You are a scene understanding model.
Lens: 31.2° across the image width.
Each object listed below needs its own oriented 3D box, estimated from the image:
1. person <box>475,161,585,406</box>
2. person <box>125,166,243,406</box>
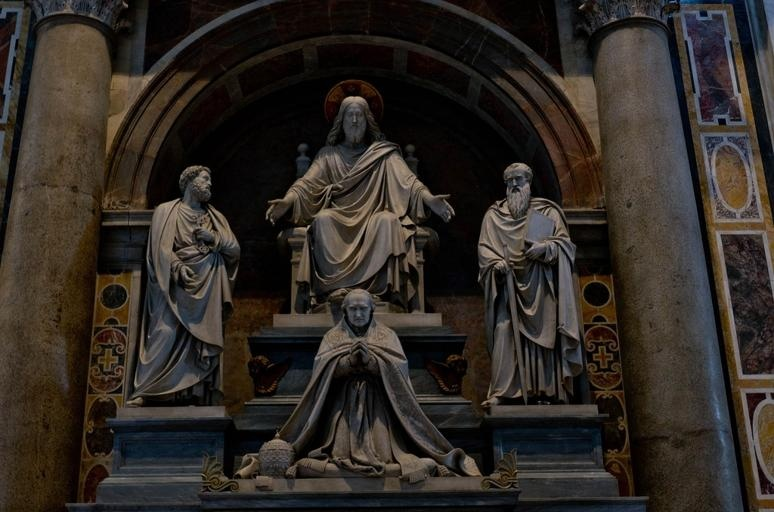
[{"bbox_3d":[1.564,0.273,15.379,1.088,2.768,0.386,-3,-15,7],"label":"person"},{"bbox_3d":[-2.247,0.294,15.431,1.128,2.741,0.347,2,-15,-9],"label":"person"}]
